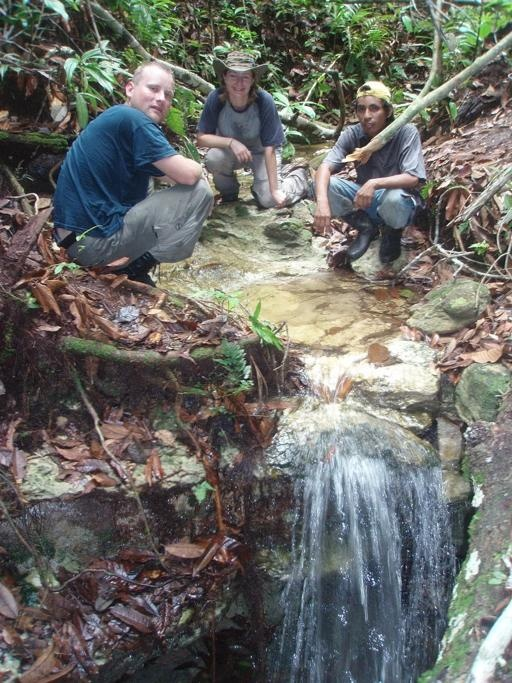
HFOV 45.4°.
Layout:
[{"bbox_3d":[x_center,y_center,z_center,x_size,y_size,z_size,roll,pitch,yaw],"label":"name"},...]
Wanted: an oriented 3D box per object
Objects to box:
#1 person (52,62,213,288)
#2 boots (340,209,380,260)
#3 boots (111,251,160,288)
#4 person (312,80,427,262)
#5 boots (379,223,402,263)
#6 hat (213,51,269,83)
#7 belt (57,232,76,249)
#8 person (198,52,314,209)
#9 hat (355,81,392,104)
[{"bbox_3d":[-0.654,-0.768,3.361,0.872,0.995,0.396,-8,24,-20],"label":"person"},{"bbox_3d":[0.824,-0.838,4.780,0.307,0.300,0.123,11,21,-48],"label":"boots"},{"bbox_3d":[-0.692,-0.439,3.651,0.249,0.117,0.341,-22,44,22],"label":"boots"},{"bbox_3d":[0.832,-1.201,4.490,0.793,1.322,0.657,7,24,16],"label":"person"},{"bbox_3d":[1.019,-0.730,4.625,0.123,0.310,0.230,11,-18,19],"label":"boots"},{"bbox_3d":[-0.117,-2.058,4.546,0.382,0.200,0.340,0,21,-3],"label":"hat"},{"bbox_3d":[-1.005,-0.540,3.281,0.091,0.031,0.068,-33,-24,30],"label":"belt"},{"bbox_3d":[-0.003,-1.697,4.998,1.055,1.186,1.008,4,33,3],"label":"person"},{"bbox_3d":[0.828,-1.736,4.300,0.227,0.130,0.208,7,30,-1],"label":"hat"}]
